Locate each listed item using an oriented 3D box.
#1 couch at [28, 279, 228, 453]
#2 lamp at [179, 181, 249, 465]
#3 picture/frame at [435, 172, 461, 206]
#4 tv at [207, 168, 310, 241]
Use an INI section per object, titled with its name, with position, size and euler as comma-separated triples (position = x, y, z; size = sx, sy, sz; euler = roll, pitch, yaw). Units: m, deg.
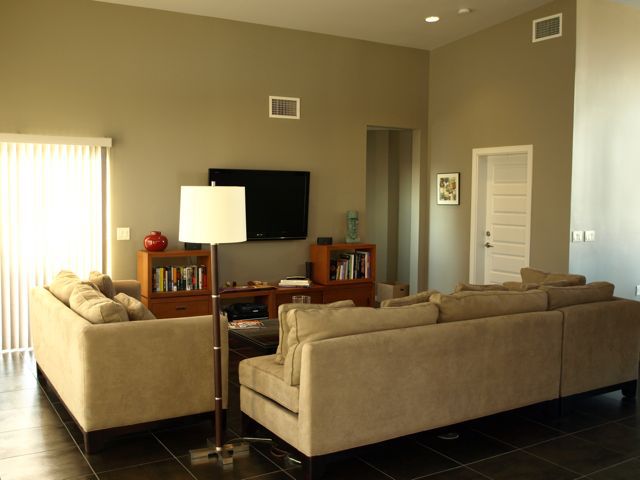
[couch]
position = -1.472, 0.577, 4.002
size = 0.907, 0.749, 1.664
euler = -3, 4, -32
[lamp]
position = -0.732, 0.578, 3.632
size = 0.452, 1.951, 0.548
euler = -2, 9, -10
[picture/frame]
position = 1.982, -0.783, 7.885
size = 0.023, 0.597, 0.508
euler = 0, 4, -29
[tv]
position = -0.713, -0.444, 6.026
size = 1.048, 0.739, 0.075
euler = -1, 6, -20
